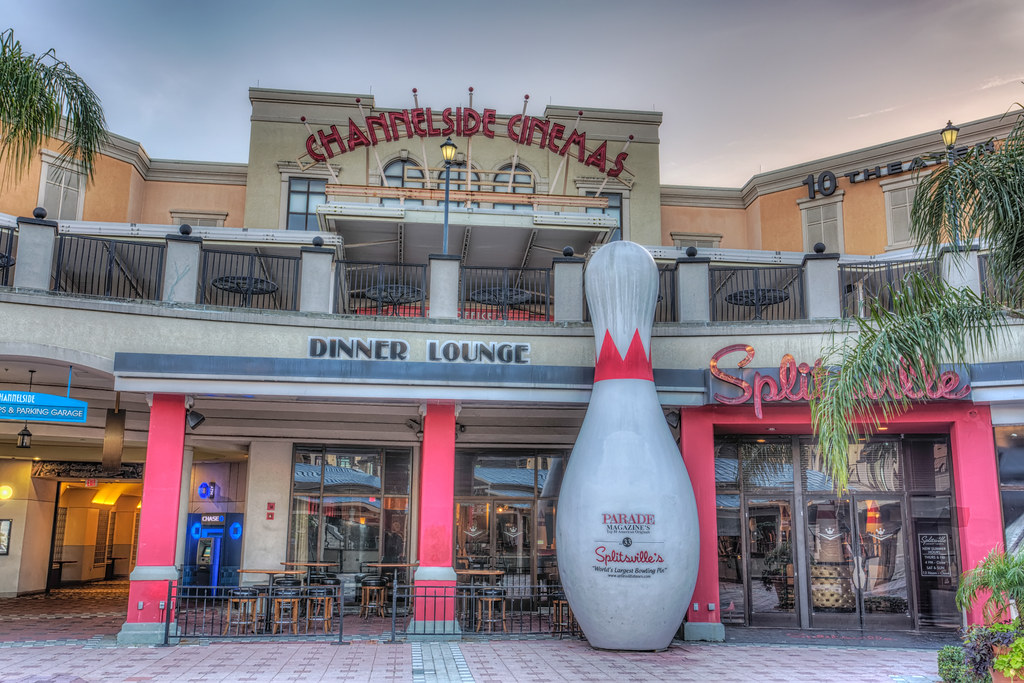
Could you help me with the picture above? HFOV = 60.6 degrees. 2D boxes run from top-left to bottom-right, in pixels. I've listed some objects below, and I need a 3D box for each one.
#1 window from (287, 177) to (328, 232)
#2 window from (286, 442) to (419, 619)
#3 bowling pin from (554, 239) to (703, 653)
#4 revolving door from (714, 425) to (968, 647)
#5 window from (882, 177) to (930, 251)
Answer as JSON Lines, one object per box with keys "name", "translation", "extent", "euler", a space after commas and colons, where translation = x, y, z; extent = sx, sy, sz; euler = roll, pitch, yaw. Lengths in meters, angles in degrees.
{"name": "window", "translation": [-6.593, -4.427, 28.267], "extent": [1.263, 0.077, 2.235], "euler": [-9, -32, -22]}
{"name": "window", "translation": [-4.014, 4.674, 22.078], "extent": [3.028, 3.819, 0.172], "euler": [0, 0, 1]}
{"name": "bowling pin", "translation": [2.164, 2.018, 18.210], "extent": [3.146, 8.302, 3.099], "euler": [0, -11, 3]}
{"name": "revolving door", "translation": [7.158, 4.346, 18.770], "extent": [5.113, 4.214, 0.411], "euler": [0, -10, -1]}
{"name": "window", "translation": [12.584, -4.092, 27.928], "extent": [1.500, 2.371, 0.264], "euler": [-9, 31, 17]}
